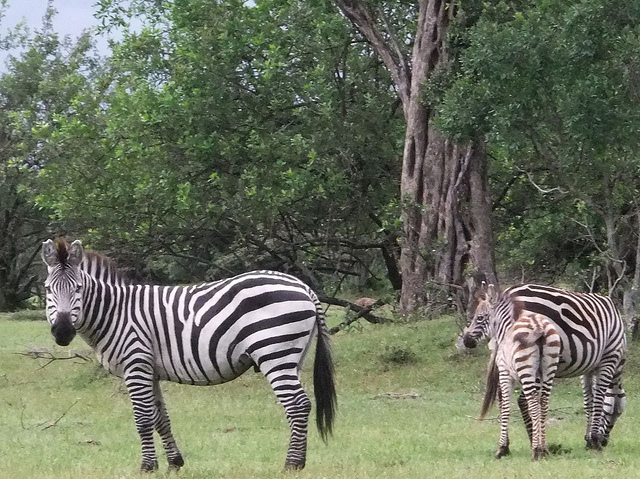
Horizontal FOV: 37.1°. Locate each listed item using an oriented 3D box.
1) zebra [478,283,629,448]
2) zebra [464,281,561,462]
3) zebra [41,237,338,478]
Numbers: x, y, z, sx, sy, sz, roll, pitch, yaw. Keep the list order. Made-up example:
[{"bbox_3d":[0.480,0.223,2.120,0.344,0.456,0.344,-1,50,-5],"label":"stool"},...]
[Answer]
[{"bbox_3d":[4.059,2.068,15.872,1.234,3.064,4.498,-6,-12,41],"label":"zebra"},{"bbox_3d":[3.164,2.125,15.354,0.836,2.650,1.825,-1,4,-17],"label":"zebra"},{"bbox_3d":[-2.364,2.171,16.355,4.177,3.278,1.256,0,0,6],"label":"zebra"}]
